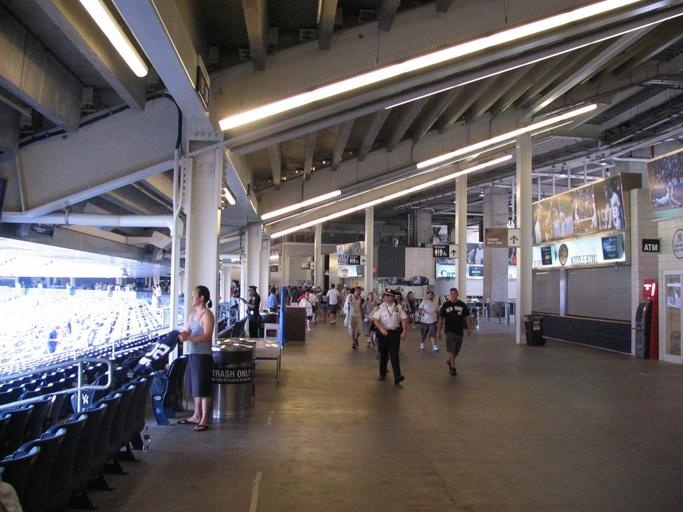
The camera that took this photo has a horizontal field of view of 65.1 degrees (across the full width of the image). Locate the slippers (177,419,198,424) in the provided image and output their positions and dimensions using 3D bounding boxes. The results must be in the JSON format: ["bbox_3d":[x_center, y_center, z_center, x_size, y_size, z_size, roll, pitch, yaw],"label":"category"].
[{"bbox_3d":[-2.284,2.456,7.960,0.266,0.081,0.113,8,-11,-9],"label":"slippers"}]

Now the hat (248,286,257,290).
[{"bbox_3d":[-2.820,1.015,17.034,0.225,0.124,0.312,2,-6,2],"label":"hat"}]

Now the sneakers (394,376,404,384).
[{"bbox_3d":[1.185,2.521,10.958,0.166,0.180,0.423,-1,-4,6],"label":"sneakers"}]

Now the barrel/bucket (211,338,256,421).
[{"bbox_3d":[-1.670,1.960,8.614,0.933,1.465,0.856,1,-2,0],"label":"barrel/bucket"}]

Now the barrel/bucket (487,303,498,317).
[{"bbox_3d":[8.317,2.921,29.516,0.561,0.764,0.620,-1,-4,-1],"label":"barrel/bucket"}]

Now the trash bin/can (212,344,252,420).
[{"bbox_3d":[-1.767,1.952,8.591,0.669,1.181,0.674,2,4,15],"label":"trash bin/can"}]

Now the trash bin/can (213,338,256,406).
[{"bbox_3d":[-1.728,2.002,8.639,0.702,0.922,0.762,0,-12,-14],"label":"trash bin/can"}]
